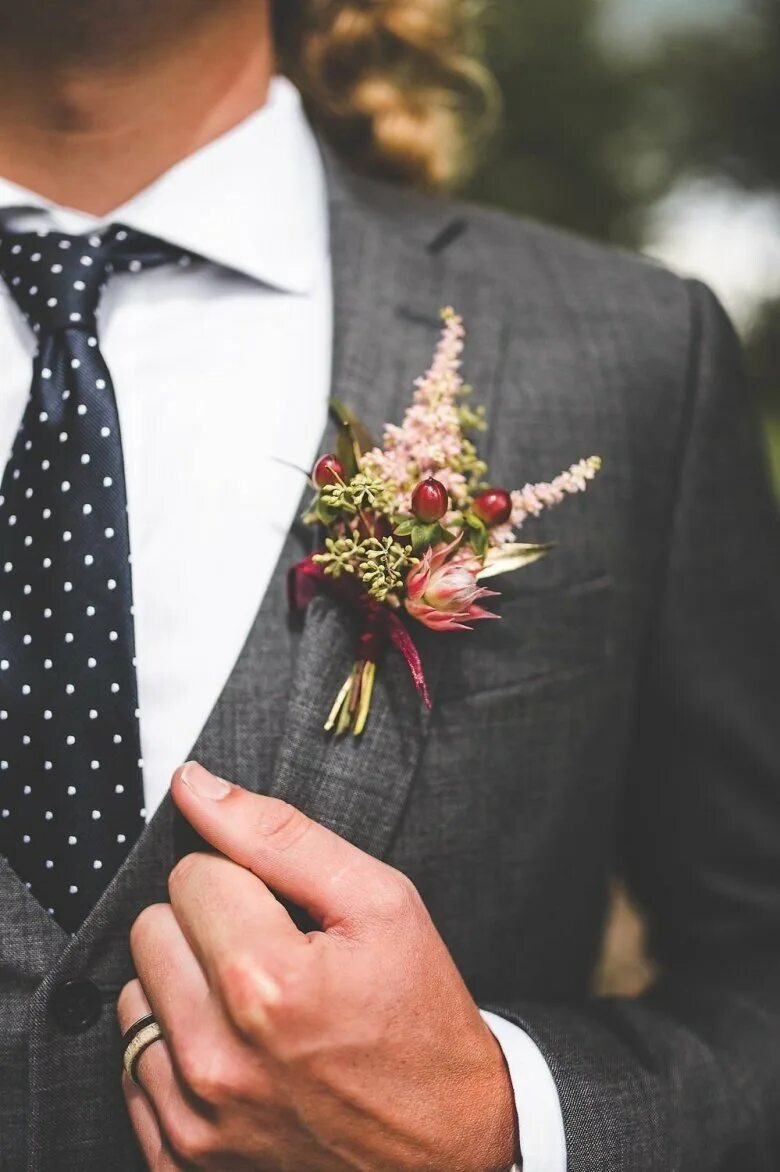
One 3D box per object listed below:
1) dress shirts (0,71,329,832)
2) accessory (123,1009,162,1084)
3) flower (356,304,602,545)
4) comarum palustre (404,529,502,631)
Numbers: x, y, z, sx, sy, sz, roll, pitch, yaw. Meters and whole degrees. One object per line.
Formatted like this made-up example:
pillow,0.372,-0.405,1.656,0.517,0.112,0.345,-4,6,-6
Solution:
dress shirts,-0.219,-0.125,1.410,0.495,0.176,0.789,6,83,6
accessory,-0.283,0.510,1.302,0.026,0.061,0.065,26,115,26
flower,0.054,-0.155,1.598,0.316,0.315,0.414,10,86,-5
comarum palustre,0.059,0.001,1.361,0.097,0.106,0.096,-23,66,24
